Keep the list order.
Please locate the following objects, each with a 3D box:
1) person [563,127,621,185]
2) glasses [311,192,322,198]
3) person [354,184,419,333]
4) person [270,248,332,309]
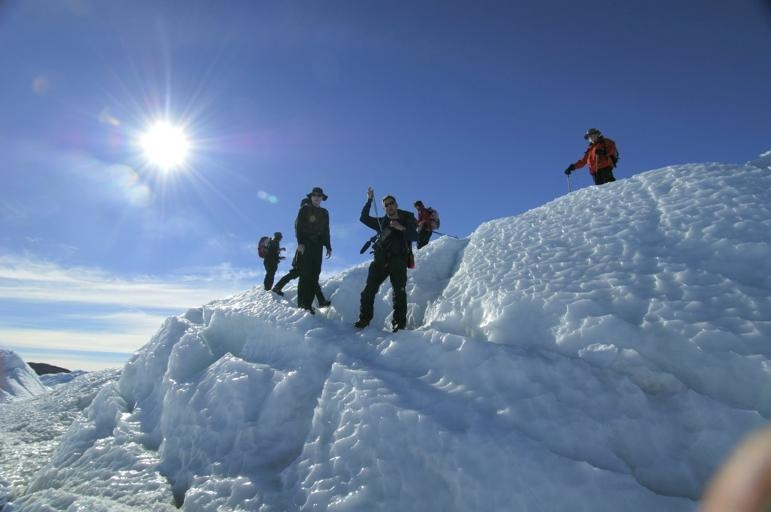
[{"bbox_3d":[5.299,-2.450,13.230,0.401,1.568,1.008,10,-12,-30],"label":"person"},{"bbox_3d":[-1.480,-1.319,11.277,0.165,0.050,0.168,10,-10,-1],"label":"glasses"},{"bbox_3d":[0.034,0.016,10.090,1.138,2.853,0.569,-1,-12,28],"label":"person"},{"bbox_3d":[-1.818,0.528,11.007,1.187,1.315,0.686,23,23,-5],"label":"person"}]
